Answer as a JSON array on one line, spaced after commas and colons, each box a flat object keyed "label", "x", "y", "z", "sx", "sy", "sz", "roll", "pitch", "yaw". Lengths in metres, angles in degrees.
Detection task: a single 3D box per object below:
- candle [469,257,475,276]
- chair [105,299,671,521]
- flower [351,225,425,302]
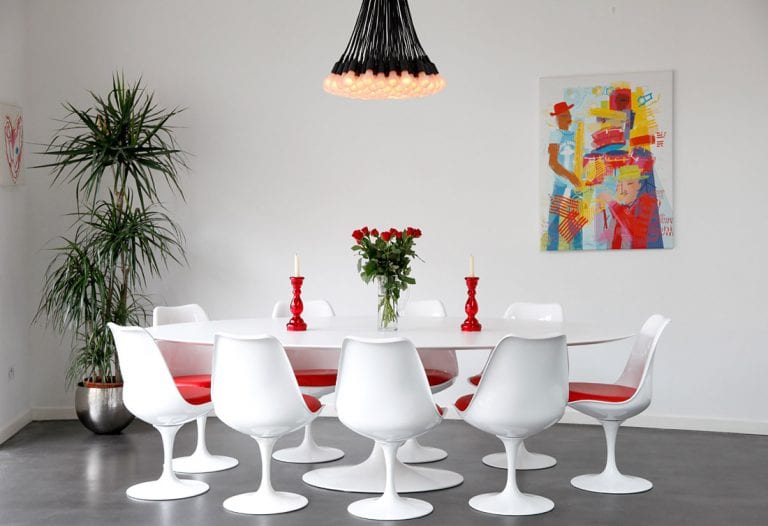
[{"label": "candle", "x": 0.633, "y": 0.031, "z": 4.945, "sx": 0.011, "sy": 0.131, "sz": 0.062, "roll": 3, "pitch": 8, "yaw": 22}, {"label": "chair", "x": 0.384, "y": 0.997, "z": 4.447, "sx": 2.894, "sy": 1.221, "sz": 0.911, "roll": -1, "pitch": 7, "yaw": -16}, {"label": "flower", "x": 0.008, "y": -0.015, "z": 4.995, "sx": 0.555, "sy": 0.685, "sz": 0.539, "roll": -1, "pitch": -1, "yaw": -7}]
